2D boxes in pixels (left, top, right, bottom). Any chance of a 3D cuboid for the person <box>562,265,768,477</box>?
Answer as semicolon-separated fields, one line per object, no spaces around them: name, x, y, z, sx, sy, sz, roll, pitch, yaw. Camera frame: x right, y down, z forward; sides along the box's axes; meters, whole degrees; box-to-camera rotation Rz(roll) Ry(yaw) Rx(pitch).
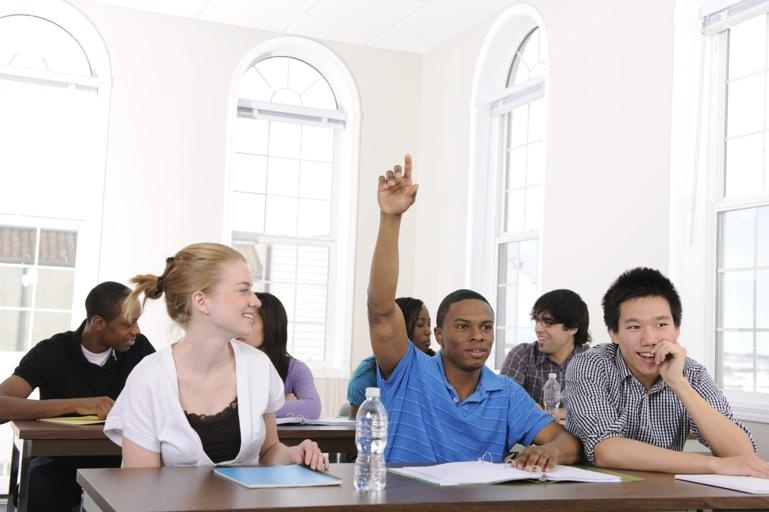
person;0.947;0.523;2.646;0.636;0.798;0.893;1;-10;-11

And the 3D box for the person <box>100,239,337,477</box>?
person;-0.659;0.542;2.801;0.866;1.242;0.918;-19;-17;37
